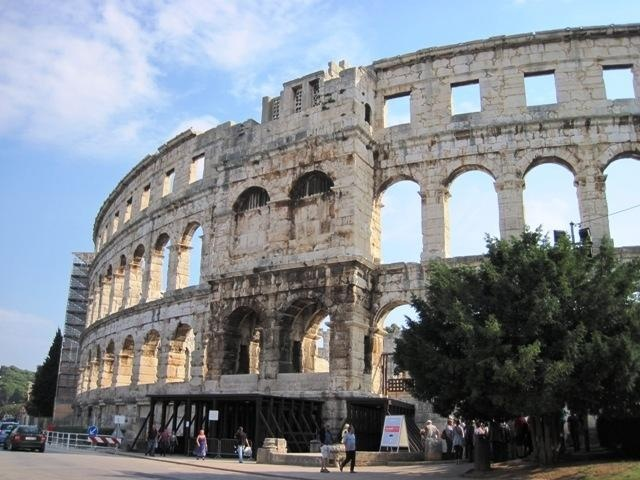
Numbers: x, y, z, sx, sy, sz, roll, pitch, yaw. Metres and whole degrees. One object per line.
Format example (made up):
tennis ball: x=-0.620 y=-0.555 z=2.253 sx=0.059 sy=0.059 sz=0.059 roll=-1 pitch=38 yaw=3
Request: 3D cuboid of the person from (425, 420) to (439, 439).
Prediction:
person: x=4.396 y=7.535 z=22.827 sx=0.300 sy=0.717 sz=1.278 roll=-8 pitch=-24 yaw=22

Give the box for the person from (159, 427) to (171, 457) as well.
person: x=-6.901 y=8.915 z=25.413 sx=0.539 sy=1.165 sz=1.598 roll=6 pitch=-23 yaw=-14

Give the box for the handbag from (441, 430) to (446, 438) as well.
handbag: x=4.925 y=7.748 z=22.925 sx=0.197 sy=0.282 sz=0.369 roll=-1 pitch=-9 yaw=6

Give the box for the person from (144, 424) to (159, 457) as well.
person: x=-7.341 y=8.712 z=24.982 sx=0.399 sy=1.219 sz=0.846 roll=9 pitch=-23 yaw=-18

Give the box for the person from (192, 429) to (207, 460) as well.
person: x=-4.938 y=8.443 z=23.859 sx=0.498 sy=1.239 sz=1.598 roll=5 pitch=-22 yaw=-9

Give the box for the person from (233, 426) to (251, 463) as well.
person: x=-3.091 y=8.176 z=23.071 sx=0.713 sy=1.436 sz=2.708 roll=4 pitch=-22 yaw=-7
